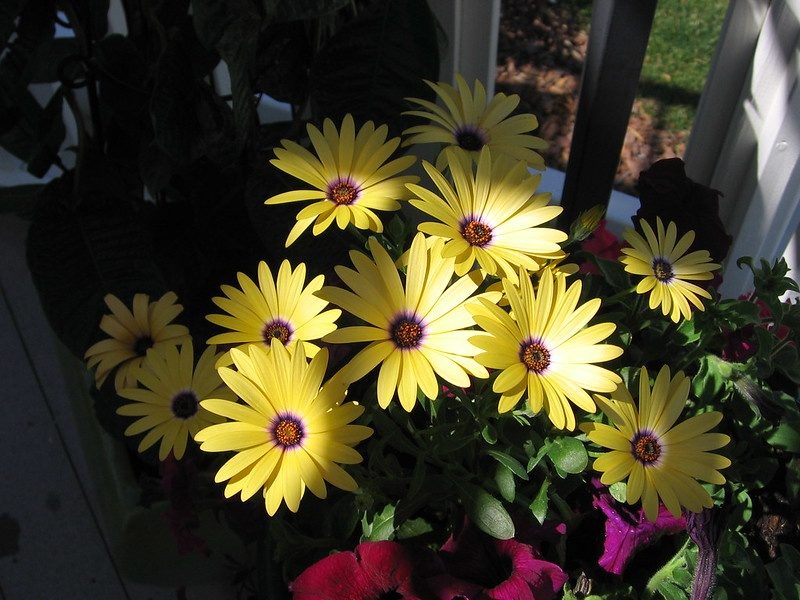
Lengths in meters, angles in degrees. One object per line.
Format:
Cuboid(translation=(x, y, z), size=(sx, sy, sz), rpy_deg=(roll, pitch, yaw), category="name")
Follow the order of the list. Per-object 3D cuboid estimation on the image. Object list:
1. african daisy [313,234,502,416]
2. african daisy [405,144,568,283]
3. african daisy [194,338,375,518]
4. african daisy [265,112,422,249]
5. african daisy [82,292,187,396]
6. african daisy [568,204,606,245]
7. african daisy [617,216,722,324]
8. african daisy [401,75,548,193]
Cuboid(translation=(0.001, 0.018, 0.655), size=(0.159, 0.128, 0.119), rpy_deg=(-1, 27, -8), category="african daisy")
Cuboid(translation=(0.081, -0.082, 0.698), size=(0.148, 0.047, 0.173), rpy_deg=(-15, 45, -4), category="african daisy")
Cuboid(translation=(-0.112, 0.115, 0.662), size=(0.195, 0.049, 0.201), rpy_deg=(4, 7, -20), category="african daisy")
Cuboid(translation=(-0.068, -0.130, 0.720), size=(0.151, 0.113, 0.129), rpy_deg=(-23, 37, -39), category="african daisy")
Cuboid(translation=(-0.312, 0.071, 0.805), size=(0.149, 0.166, 0.059), rpy_deg=(-7, 2, 37), category="african daisy")
Cuboid(translation=(0.210, -0.088, 0.761), size=(0.036, 0.053, 0.044), rpy_deg=(2, 27, -2), category="african daisy")
Cuboid(translation=(0.308, -0.036, 0.786), size=(0.049, 0.125, 0.110), rpy_deg=(-11, 3, -41), category="african daisy")
Cuboid(translation=(0.089, -0.200, 0.823), size=(0.161, 0.043, 0.139), rpy_deg=(23, -31, -35), category="african daisy")
